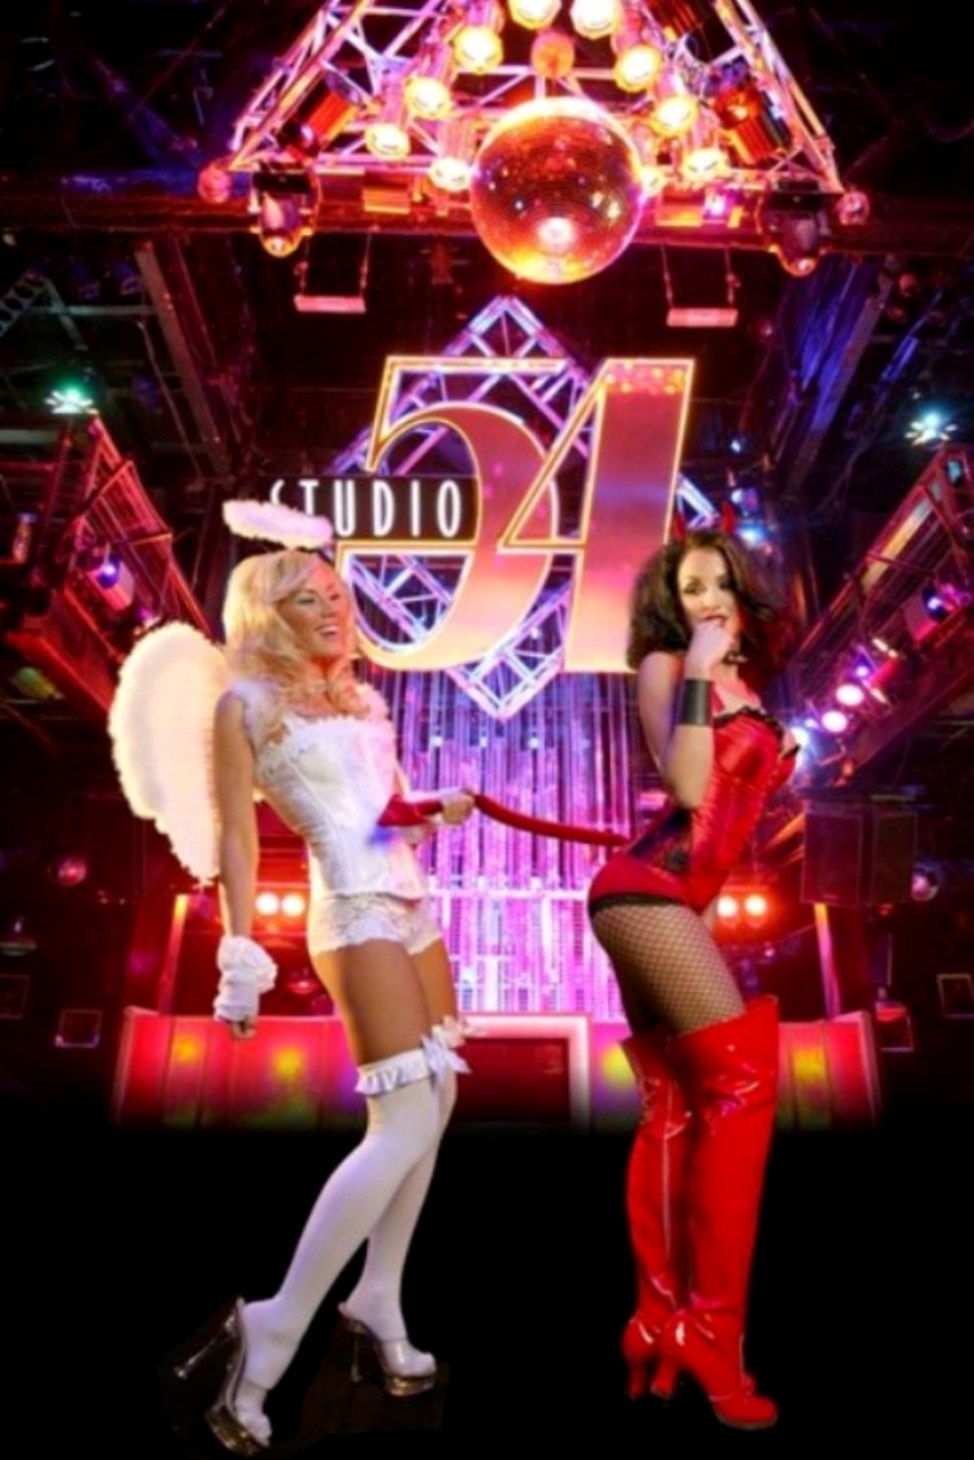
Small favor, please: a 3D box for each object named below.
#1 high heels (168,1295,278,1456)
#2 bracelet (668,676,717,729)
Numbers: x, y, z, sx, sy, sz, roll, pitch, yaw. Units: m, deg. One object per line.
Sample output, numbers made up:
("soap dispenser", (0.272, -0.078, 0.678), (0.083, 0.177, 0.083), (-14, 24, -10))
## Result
("high heels", (-0.414, 1.019, 1.613), (0.105, 0.102, 0.272), (22, 13, -19))
("bracelet", (0.371, -0.041, 1.870), (0.088, 0.086, 0.085), (7, -19, -6))
